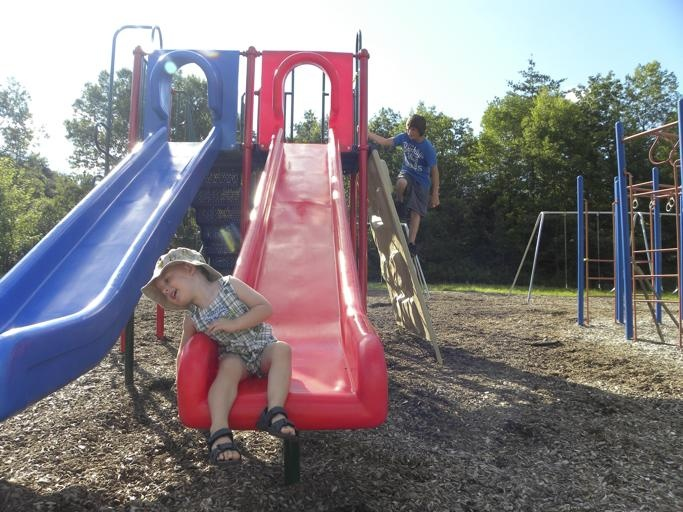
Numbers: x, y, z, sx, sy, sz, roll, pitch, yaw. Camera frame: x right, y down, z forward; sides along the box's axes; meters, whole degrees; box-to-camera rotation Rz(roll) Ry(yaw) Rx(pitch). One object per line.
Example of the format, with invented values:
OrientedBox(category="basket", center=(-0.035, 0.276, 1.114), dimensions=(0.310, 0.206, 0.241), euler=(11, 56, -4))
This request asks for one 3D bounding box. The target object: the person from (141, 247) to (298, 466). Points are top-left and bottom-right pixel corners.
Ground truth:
OrientedBox(category="person", center=(-0.980, 0.579, 4.756), dimensions=(1.010, 1.547, 1.213), euler=(4, 11, -9))

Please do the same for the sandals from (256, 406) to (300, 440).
OrientedBox(category="sandals", center=(-0.453, 1.143, 4.396), dimensions=(0.134, 0.167, 0.340), euler=(5, -1, -43))

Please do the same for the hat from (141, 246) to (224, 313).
OrientedBox(category="hat", center=(-1.299, 0.129, 4.901), dimensions=(0.448, 0.540, 0.295), euler=(-14, 45, -5))

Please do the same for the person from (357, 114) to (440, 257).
OrientedBox(category="person", center=(0.849, -1.145, 8.837), dimensions=(0.678, 2.444, 1.110), euler=(0, 1, 7))
